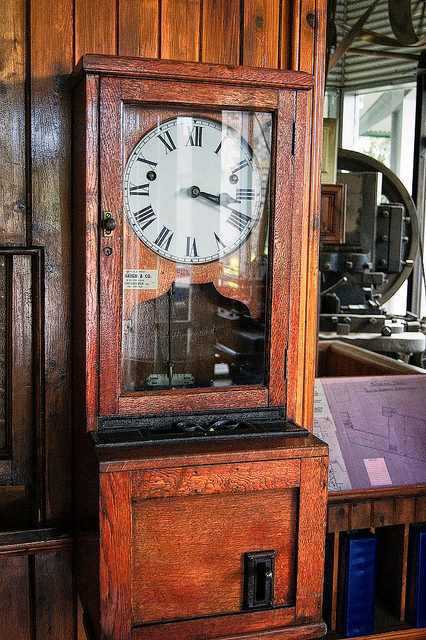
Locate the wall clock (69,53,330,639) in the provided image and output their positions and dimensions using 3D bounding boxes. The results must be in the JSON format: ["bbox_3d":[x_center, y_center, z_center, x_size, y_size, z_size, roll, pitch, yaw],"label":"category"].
[{"bbox_3d":[-0.032,0.073,1.453,0.510,1.254,0.338,-2,5,-20],"label":"wall clock"}]

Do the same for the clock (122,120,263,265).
[{"bbox_3d":[-0.057,-0.291,1.427,0.281,0.293,0.021,6,5,-23],"label":"clock"}]
